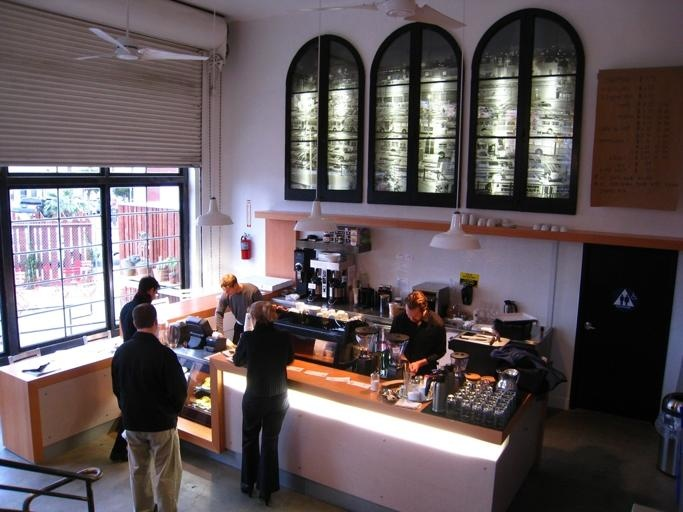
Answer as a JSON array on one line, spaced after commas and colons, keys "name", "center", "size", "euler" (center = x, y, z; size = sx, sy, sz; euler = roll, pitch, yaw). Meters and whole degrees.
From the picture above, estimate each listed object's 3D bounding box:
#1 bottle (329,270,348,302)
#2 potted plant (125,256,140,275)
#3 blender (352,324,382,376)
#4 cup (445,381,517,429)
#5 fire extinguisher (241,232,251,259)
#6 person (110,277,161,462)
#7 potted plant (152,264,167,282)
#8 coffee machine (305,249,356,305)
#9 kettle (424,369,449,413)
[{"name": "bottle", "center": [-0.041, 0.450, 7.793], "size": [0.249, 0.453, 0.128], "euler": [0, 7, 2]}, {"name": "potted plant", "center": [-3.036, 0.137, 7.933], "size": [0.235, 0.260, 0.216], "euler": [1, 1, -4]}, {"name": "blender", "center": [0.236, 0.974, 5.480], "size": [0.266, 0.455, 0.294], "euler": [-2, 2, -43]}, {"name": "cup", "center": [1.194, 1.259, 4.704], "size": [0.512, 0.289, 0.401], "euler": [4, 8, 29]}, {"name": "fire extinguisher", "center": [-1.546, -0.162, 8.798], "size": [0.155, 0.427, 0.112], "euler": [-4, 8, -25]}, {"name": "person", "center": [-2.292, 1.069, 6.166], "size": [0.555, 1.712, 0.494], "euler": [9, 11, -21]}, {"name": "potted plant", "center": [-2.787, 0.250, 8.368], "size": [0.231, 0.259, 0.233], "euler": [2, 7, 1]}, {"name": "coffee machine", "center": [-0.172, 0.290, 7.953], "size": [0.567, 0.760, 0.556], "euler": [8, 10, 35]}, {"name": "kettle", "center": [0.862, 1.173, 4.776], "size": [0.136, 0.348, 0.203], "euler": [1, 7, 11]}]
